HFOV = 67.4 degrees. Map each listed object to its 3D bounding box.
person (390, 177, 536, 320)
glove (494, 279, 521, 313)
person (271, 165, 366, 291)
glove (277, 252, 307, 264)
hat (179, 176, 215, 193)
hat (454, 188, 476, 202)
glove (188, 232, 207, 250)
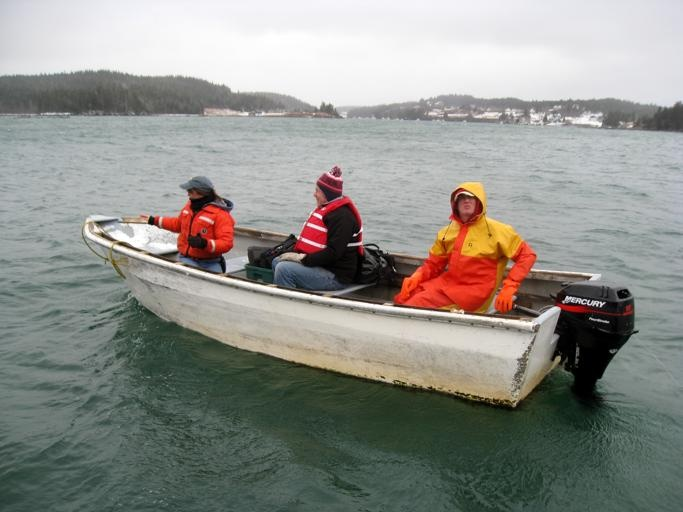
[{"bbox_3d":[1.227,-0.053,5.057,1.190,1.317,0.550,9,19,30],"label":"person"},{"bbox_3d":[1.554,0.427,4.856,0.179,0.345,0.311,7,17,25],"label":"glove"},{"bbox_3d":[-0.440,-0.243,5.847,1.327,1.383,1.167,6,12,13],"label":"person"},{"bbox_3d":[-0.558,0.022,5.679,0.253,0.052,0.112,1,48,7],"label":"glove"},{"bbox_3d":[-1.733,-0.867,6.154,0.360,0.179,0.367,-5,14,-18],"label":"hat"},{"bbox_3d":[1.186,-0.602,5.036,0.113,0.153,0.268,-10,17,-31],"label":"hat"},{"bbox_3d":[-1.662,-0.168,5.879,0.218,0.070,0.155,25,12,25],"label":"glove"}]
